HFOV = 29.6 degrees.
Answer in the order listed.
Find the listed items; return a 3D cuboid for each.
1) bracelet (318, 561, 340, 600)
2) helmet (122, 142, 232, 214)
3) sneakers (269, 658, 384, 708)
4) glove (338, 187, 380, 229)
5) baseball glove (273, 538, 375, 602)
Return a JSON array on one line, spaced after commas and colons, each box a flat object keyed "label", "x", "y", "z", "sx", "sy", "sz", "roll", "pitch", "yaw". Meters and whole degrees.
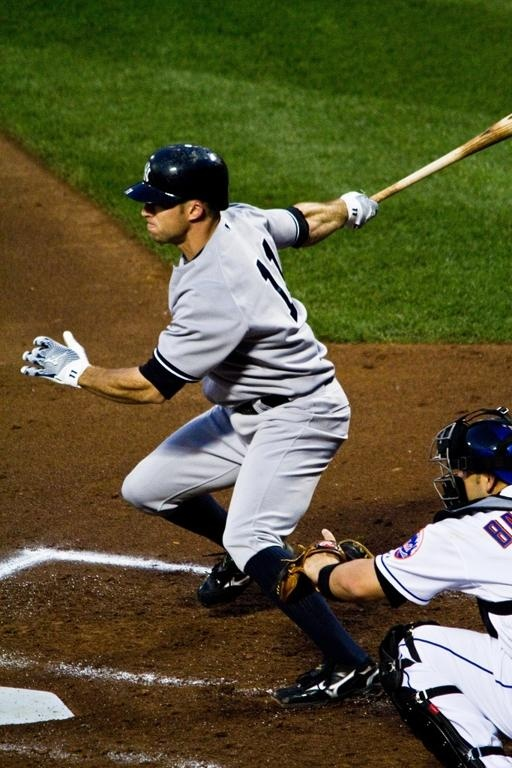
[{"label": "bracelet", "x": 0.224, "y": 0.651, "z": 3.154, "sx": 0.048, "sy": 0.079, "sz": 0.107, "roll": -2, "pitch": 32, "yaw": 12}, {"label": "helmet", "x": -0.284, "y": -0.732, "z": 3.406, "sx": 0.361, "sy": 0.158, "sz": 0.221, "roll": 3, "pitch": 30, "yaw": -6}, {"label": "sneakers", "x": 0.249, "y": 1.032, "z": 3.440, "sx": 0.445, "sy": 0.149, "sz": 0.136, "roll": -6, "pitch": 20, "yaw": -7}, {"label": "glove", "x": 0.458, "y": -0.806, "z": 4.478, "sx": 0.152, "sy": 0.079, "sz": 0.207, "roll": 43, "pitch": 31, "yaw": 11}, {"label": "baseball glove", "x": 0.234, "y": 0.627, "z": 3.353, "sx": 0.339, "sy": 0.181, "sz": 0.152, "roll": -22, "pitch": 56, "yaw": -7}]
